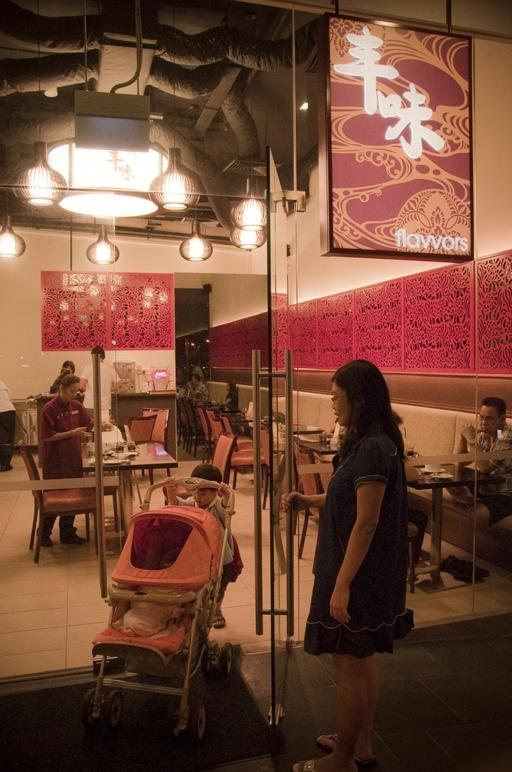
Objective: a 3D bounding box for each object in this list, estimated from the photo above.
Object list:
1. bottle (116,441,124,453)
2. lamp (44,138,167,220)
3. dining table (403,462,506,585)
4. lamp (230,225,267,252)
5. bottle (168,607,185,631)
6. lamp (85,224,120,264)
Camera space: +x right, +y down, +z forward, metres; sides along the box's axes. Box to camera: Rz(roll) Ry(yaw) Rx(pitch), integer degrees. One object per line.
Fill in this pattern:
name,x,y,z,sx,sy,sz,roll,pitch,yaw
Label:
bottle,-0.536,0.241,2.462,0.036,0.043,0.034,-1,-8,0
lamp,-0.548,-0.773,2.286,0.296,0.113,0.296,0,-12,-7
dining table,0.871,0.590,3.056,0.504,0.538,0.523,-2,7,-22
lamp,-0.028,-0.607,2.523,0.102,0.053,0.109,-4,-6,18
bottle,-0.255,0.767,2.019,0.056,0.052,0.038,0,2,-15
lamp,-0.585,-0.550,2.347,0.123,0.201,0.128,-2,8,-22
